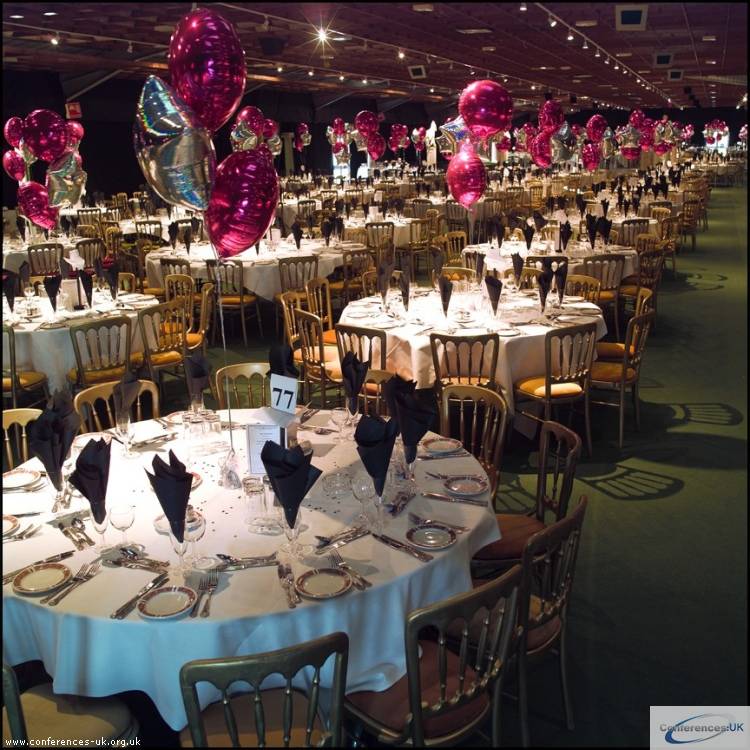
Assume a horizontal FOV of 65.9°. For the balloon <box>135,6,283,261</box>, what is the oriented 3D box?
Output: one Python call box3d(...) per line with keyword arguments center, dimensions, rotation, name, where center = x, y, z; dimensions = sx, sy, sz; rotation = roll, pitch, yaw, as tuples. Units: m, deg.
box3d(center=(-0.834, -1.163, 3.117), dimensions=(0.715, 1.221, 0.534), rotation=(-7, 1, 0), name="balloon")
